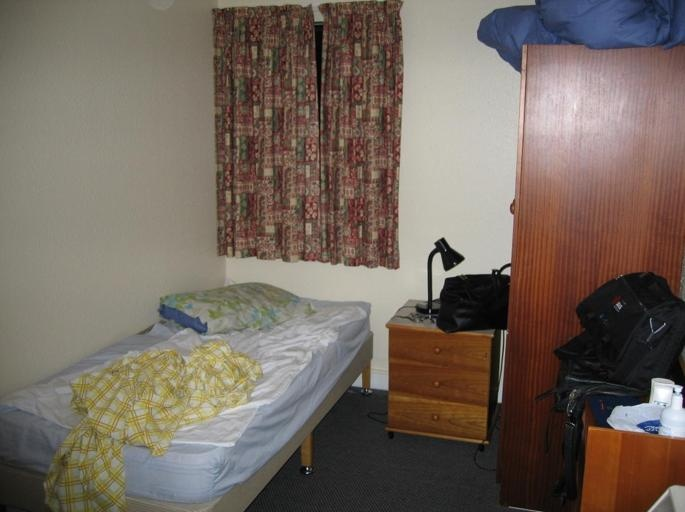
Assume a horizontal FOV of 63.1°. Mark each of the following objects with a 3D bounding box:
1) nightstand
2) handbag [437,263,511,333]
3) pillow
[{"bbox_3d":[0.622,0.646,3.671,0.715,0.937,0.668,1,4,19],"label":"nightstand"},{"bbox_3d":[0.781,0.260,3.268,0.419,0.480,0.308,-1,-5,25],"label":"handbag"},{"bbox_3d":[-0.683,0.317,3.580,0.381,0.144,0.495,11,7,31],"label":"pillow"}]
